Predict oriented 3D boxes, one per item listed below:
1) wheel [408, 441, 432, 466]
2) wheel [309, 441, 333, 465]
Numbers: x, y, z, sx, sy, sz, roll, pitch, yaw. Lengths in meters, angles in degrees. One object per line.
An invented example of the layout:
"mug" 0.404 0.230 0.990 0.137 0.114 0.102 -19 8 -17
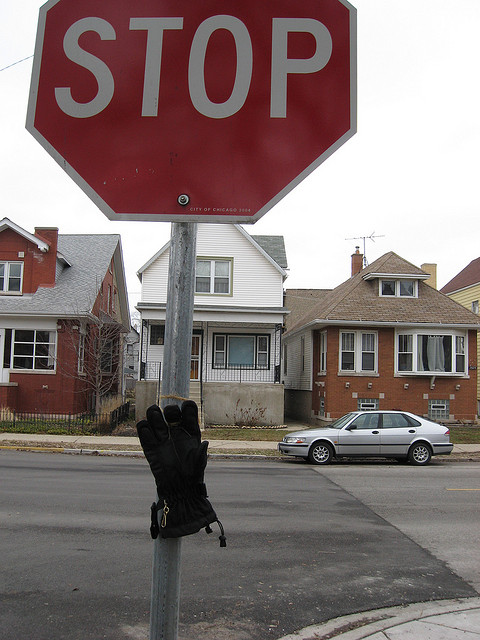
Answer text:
"wheel" 4.294 3.175 15.189 0.553 0.566 0.251 0 -4 17
"wheel" 1.881 3.093 14.920 0.400 0.522 0.150 -3 -9 -8
